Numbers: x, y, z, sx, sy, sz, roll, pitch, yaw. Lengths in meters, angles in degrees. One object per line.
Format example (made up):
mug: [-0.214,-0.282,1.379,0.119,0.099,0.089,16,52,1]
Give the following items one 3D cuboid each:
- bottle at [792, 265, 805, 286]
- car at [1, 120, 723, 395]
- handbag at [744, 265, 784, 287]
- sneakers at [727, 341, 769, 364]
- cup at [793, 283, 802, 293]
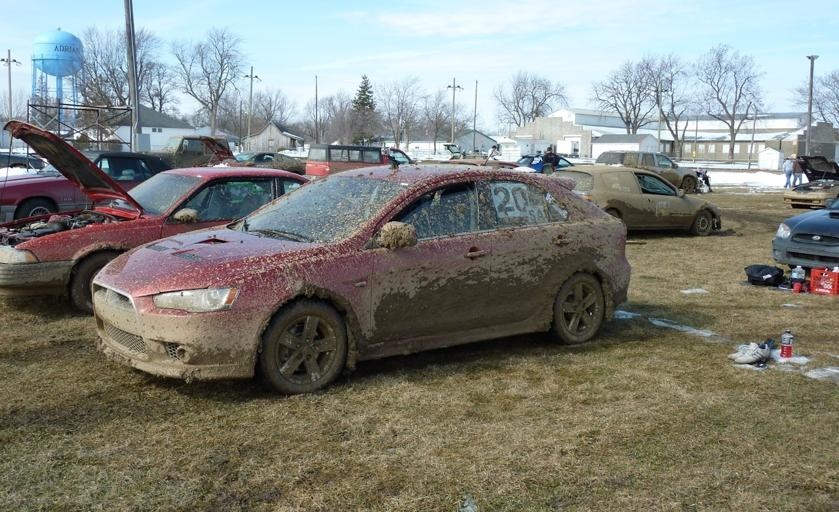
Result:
bottle: [6.325,0.331,9.860,0.278,0.314,0.146,3,-5,23]
car: [-0.259,-0.008,6.722,5.617,1.482,2.459,-3,9,-27]
handbag: [5.929,0.337,10.130,0.584,0.271,0.518,5,14,29]
sneakers: [3.704,1.088,6.600,0.471,0.150,0.187,-6,14,-10]
cup: [6.192,0.516,9.660,0.139,0.146,0.314,7,15,35]
